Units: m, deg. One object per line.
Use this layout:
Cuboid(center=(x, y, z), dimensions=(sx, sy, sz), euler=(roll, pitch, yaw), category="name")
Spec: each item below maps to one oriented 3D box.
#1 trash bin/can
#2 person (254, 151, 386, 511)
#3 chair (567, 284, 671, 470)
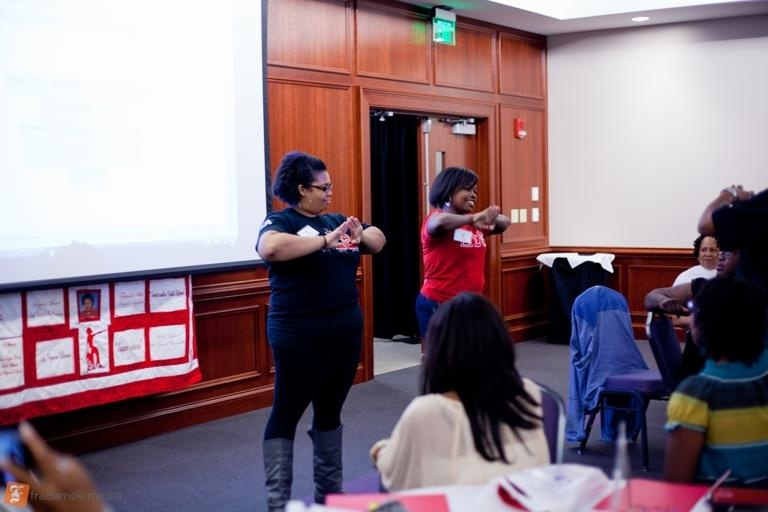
Cuboid(center=(2.299, 0.346, 6.520), dimensions=(0.722, 0.779, 0.709), euler=(-1, 6, 8), category="trash bin/can")
Cuboid(center=(-0.351, 0.419, 2.794), dimensions=(0.599, 1.918, 0.362), euler=(-2, 6, -13), category="person")
Cuboid(center=(1.664, 0.777, 3.527), dimensions=(0.745, 1.054, 0.628), euler=(-2, -2, -31), category="chair")
